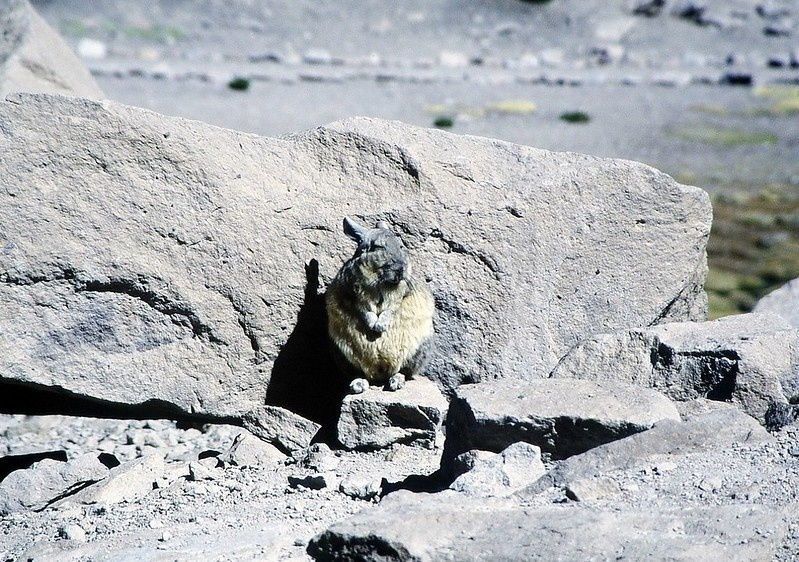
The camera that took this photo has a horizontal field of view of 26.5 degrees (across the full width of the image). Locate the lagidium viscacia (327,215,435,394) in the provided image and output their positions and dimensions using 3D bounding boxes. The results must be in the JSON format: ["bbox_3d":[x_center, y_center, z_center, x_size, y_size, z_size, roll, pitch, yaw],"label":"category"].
[{"bbox_3d":[-0.137,0.173,12.553,0.780,1.155,0.480,-1,31,0],"label":"lagidium viscacia"}]
